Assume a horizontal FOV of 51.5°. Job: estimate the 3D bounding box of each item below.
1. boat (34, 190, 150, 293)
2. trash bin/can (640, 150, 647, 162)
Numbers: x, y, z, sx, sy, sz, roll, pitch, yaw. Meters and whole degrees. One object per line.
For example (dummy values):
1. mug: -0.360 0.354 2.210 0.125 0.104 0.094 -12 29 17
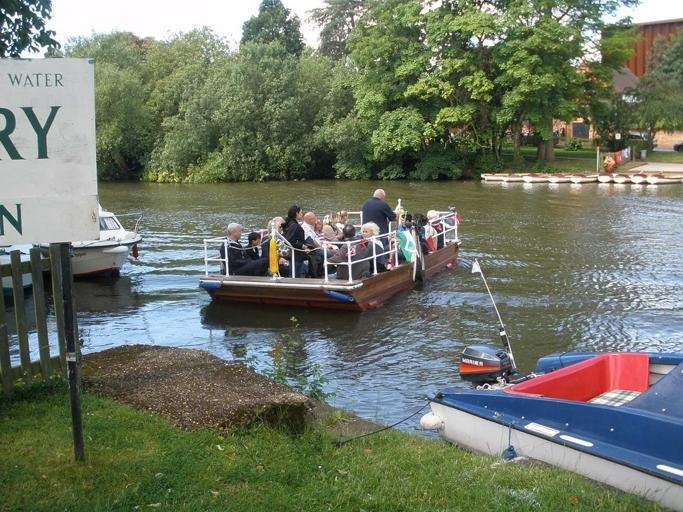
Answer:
1. boat: -7.099 -0.411 20.047 1.682 1.750 5.016 -19 18 -33
2. trash bin/can: 23.853 -7.936 56.042 0.447 0.944 1.069 3 15 25
